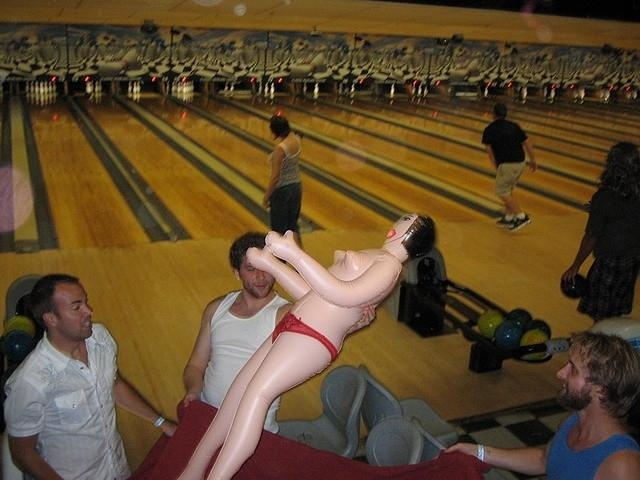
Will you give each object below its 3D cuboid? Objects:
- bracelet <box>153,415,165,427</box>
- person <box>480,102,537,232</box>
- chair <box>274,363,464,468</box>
[{"bbox_3d":[-0.516,0.586,1.487,0.033,0.011,0.033,-5,44,43],"label":"bracelet"},{"bbox_3d":[1.910,-0.716,4.600,0.559,1.128,1.567,15,18,24],"label":"person"},{"bbox_3d":[0.167,0.642,1.671,0.409,0.346,0.309,-33,43,-6],"label":"chair"}]
